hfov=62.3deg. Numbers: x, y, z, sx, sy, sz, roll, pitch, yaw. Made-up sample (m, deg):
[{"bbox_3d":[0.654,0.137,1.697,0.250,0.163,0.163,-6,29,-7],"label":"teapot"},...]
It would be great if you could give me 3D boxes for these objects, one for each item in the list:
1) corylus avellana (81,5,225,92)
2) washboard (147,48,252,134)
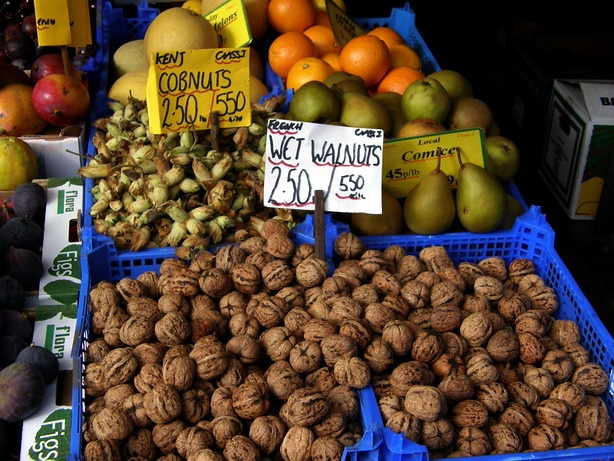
[{"bbox_3d":[-1.143,-1.334,3.724,0.758,0.511,0.844,-5,50,-12],"label":"corylus avellana"},{"bbox_3d":[-0.636,-0.831,3.010,0.613,0.476,0.119,-9,24,-18],"label":"washboard"}]
